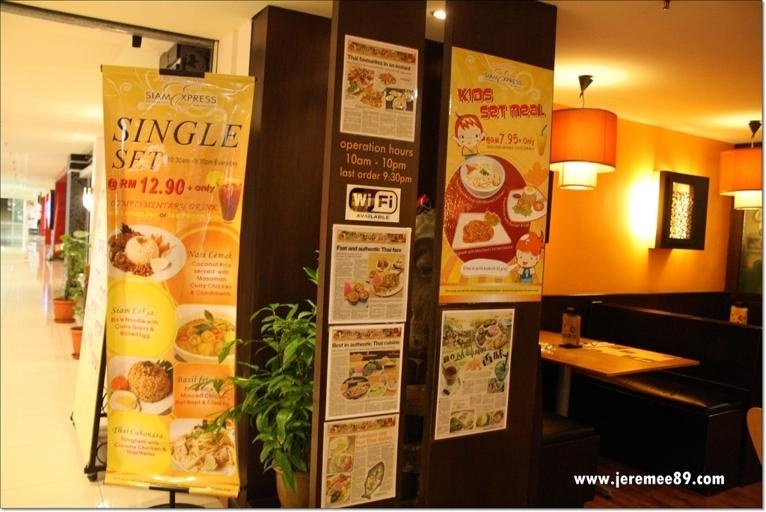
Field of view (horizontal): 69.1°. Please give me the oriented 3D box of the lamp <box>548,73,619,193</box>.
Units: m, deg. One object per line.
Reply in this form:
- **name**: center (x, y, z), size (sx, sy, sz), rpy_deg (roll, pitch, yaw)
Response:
- **lamp**: center (1.880, -1.147, 5.184), size (0.577, 1.030, 0.636), rpy_deg (5, 5, 17)

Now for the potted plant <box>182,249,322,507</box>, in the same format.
- **potted plant**: center (-0.908, 0.919, 3.941), size (0.807, 1.708, 0.919), rpy_deg (3, 5, -8)

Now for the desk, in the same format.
- **desk**: center (2.070, 1.382, 4.787), size (0.806, 0.972, 1.453), rpy_deg (5, 0, -30)

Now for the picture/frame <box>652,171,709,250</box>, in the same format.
- **picture/frame**: center (3.640, -0.560, 6.868), size (0.961, 0.883, 0.096), rpy_deg (7, -1, -34)
